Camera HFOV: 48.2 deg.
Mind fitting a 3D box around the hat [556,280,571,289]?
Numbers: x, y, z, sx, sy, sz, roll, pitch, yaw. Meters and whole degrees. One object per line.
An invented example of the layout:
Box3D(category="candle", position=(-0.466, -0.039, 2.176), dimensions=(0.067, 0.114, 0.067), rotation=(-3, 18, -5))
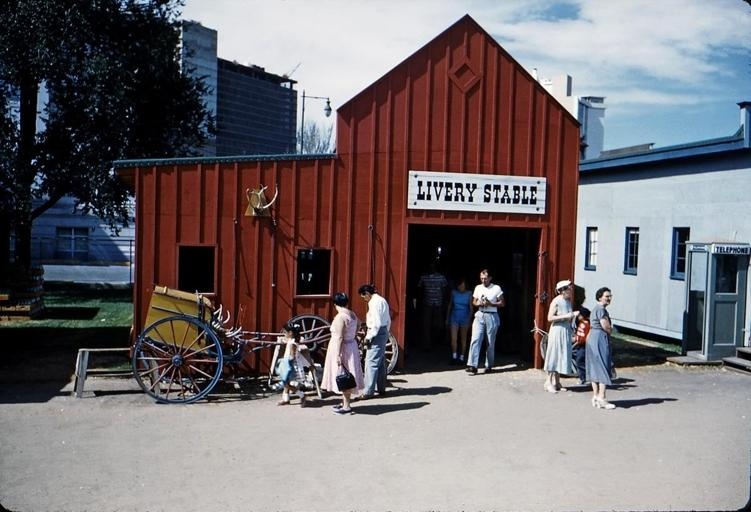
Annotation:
Box3D(category="hat", position=(4.485, 0.719, 20.197), dimensions=(0.299, 0.219, 0.489), rotation=(2, -1, 8))

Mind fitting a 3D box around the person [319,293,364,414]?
Box3D(category="person", position=(-0.774, 2.226, 19.064), dimensions=(0.910, 2.692, 0.531), rotation=(2, -1, -5))

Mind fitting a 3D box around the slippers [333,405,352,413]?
Box3D(category="slippers", position=(-0.776, 3.488, 18.982), dimensions=(0.402, 0.166, 0.211), rotation=(2, -1, -5))

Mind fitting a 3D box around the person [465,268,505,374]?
Box3D(category="person", position=(2.851, 1.751, 22.300), dimensions=(0.877, 2.744, 1.559), rotation=(1, -1, 6))

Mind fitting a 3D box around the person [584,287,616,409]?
Box3D(category="person", position=(5.210, 2.153, 19.494), dimensions=(0.645, 2.787, 0.570), rotation=(1, -1, 17))

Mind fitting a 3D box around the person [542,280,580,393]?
Box3D(category="person", position=(4.506, 1.936, 20.224), dimensions=(0.832, 2.567, 0.841), rotation=(5, -2, -37))

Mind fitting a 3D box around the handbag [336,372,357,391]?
Box3D(category="handbag", position=(-0.706, 2.856, 18.861), dimensions=(0.340, 0.376, 0.142), rotation=(-8, 4, -12))

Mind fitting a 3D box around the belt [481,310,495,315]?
Box3D(category="belt", position=(2.876, 1.460, 21.619), dimensions=(0.344, 0.101, 0.069), rotation=(2, -1, -7))
